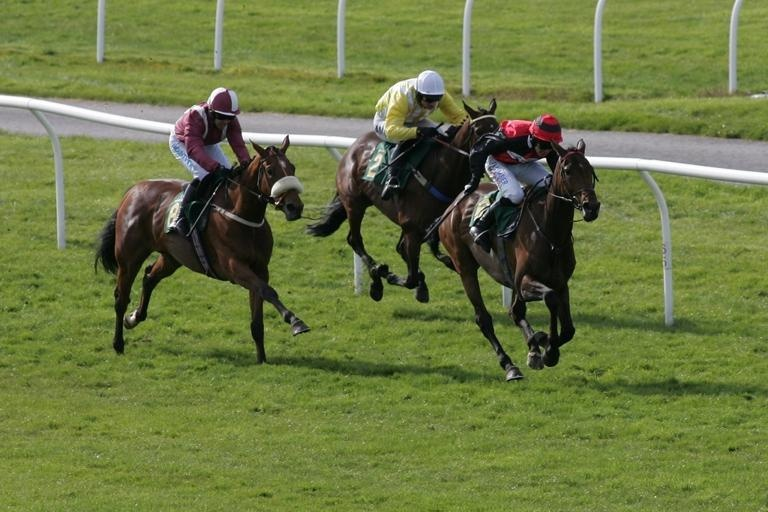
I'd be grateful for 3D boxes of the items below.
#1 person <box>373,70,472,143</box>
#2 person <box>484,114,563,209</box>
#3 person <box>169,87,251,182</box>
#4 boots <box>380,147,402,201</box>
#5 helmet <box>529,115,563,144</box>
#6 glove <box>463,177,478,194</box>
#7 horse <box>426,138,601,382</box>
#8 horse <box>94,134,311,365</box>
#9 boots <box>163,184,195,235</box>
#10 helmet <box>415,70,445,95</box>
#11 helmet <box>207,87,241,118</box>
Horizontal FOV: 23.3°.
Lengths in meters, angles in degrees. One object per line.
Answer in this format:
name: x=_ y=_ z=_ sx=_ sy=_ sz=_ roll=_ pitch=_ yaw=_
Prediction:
person: x=0.413 y=-1.869 z=22.589 sx=0.889 sy=0.767 sz=1.121 roll=-25 pitch=38 yaw=-34
person: x=1.623 y=-1.083 z=21.512 sx=0.672 sy=0.899 sz=0.677 roll=-29 pitch=66 yaw=-21
person: x=-2.082 y=-1.467 z=22.052 sx=0.932 sy=1.069 sz=0.576 roll=-1 pitch=10 yaw=-6
boots: x=0.142 y=-1.019 z=22.629 sx=0.190 sy=0.713 sz=0.234 roll=17 pitch=-9 yaw=5
helmet: x=1.864 y=-1.429 z=21.220 sx=0.327 sy=0.180 sz=0.356 roll=1 pitch=42 yaw=-16
glove: x=1.038 y=-0.842 z=21.839 sx=0.111 sy=0.284 sz=0.079 roll=18 pitch=53 yaw=-22
horse: x=1.699 y=0.022 z=21.527 sx=0.619 sy=2.827 sz=1.994 roll=-8 pitch=13 yaw=-40
horse: x=-2.266 y=-0.051 z=22.593 sx=1.159 sy=2.646 sz=4.387 roll=-2 pitch=2 yaw=-40
boots: x=-2.433 y=-0.593 z=22.023 sx=0.336 sy=0.633 sz=0.271 roll=4 pitch=10 yaw=20
helmet: x=0.560 y=-2.089 z=22.383 sx=0.358 sy=0.280 sz=0.260 roll=0 pitch=9 yaw=0
helmet: x=-1.930 y=-1.841 z=21.857 sx=0.318 sy=0.198 sz=0.397 roll=-7 pitch=36 yaw=-34
